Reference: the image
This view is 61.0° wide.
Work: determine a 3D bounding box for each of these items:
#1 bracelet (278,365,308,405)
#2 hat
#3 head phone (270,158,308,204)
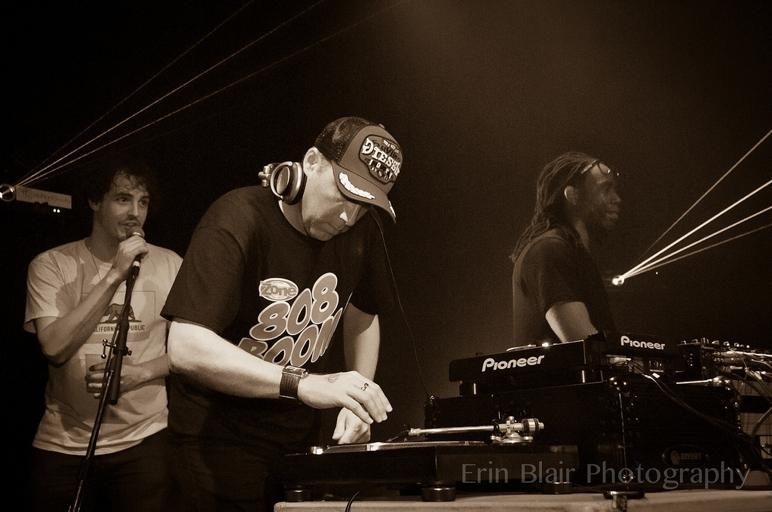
[{"bbox_3d":[-0.343,0.472,2.442,0.076,0.120,0.125,12,-2,3],"label":"bracelet"},{"bbox_3d":[-0.063,-0.368,2.717,0.252,0.433,0.298,-47,-36,11],"label":"hat"},{"bbox_3d":[-0.397,-0.305,2.671,0.143,0.167,0.060,-33,-14,31],"label":"head phone"}]
